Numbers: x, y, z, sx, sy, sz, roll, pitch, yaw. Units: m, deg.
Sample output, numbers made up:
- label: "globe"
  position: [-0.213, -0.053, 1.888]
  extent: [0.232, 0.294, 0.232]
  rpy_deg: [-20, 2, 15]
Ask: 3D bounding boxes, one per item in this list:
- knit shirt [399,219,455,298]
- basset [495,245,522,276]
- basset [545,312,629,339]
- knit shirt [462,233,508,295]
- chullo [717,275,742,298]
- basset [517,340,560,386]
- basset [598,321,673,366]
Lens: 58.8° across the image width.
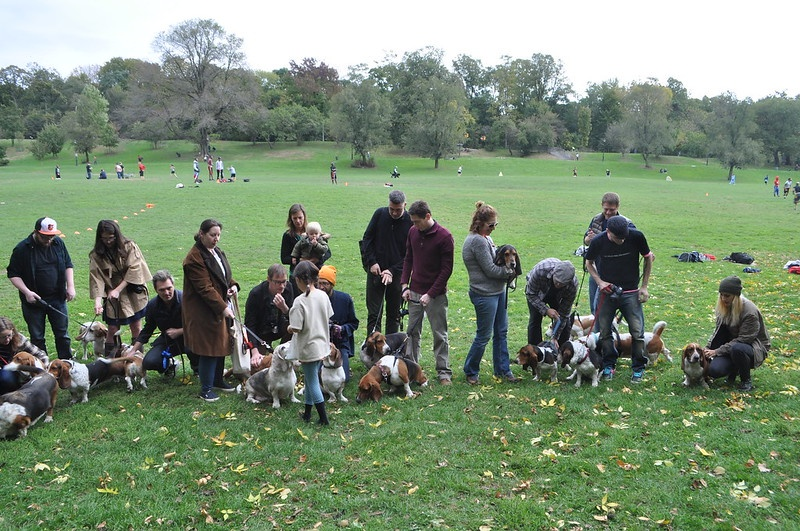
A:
- label: "knit shirt"
  position: [0.642, -0.185, 15.629]
  extent: [0.906, 1.702, 1.465]
  rpy_deg: [1, 0, 2]
- label: "basset"
  position: [2.322, -0.203, 15.331]
  extent: [0.508, 0.675, 0.477]
  rpy_deg: [-3, -37, -10]
- label: "basset"
  position: [4.362, 1.442, 16.622]
  extent: [1.986, 0.567, 1.323]
  rpy_deg: [-1, -1, -7]
- label: "knit shirt"
  position: [1.708, 0.030, 15.367]
  extent: [0.771, 1.465, 1.442]
  rpy_deg: [1, 0, -3]
- label: "chullo"
  position: [6.871, 0.427, 14.774]
  extent: [0.441, 0.401, 0.375]
  rpy_deg: [-3, 9, -6]
- label: "basset"
  position: [2.998, 2.108, 15.617]
  extent: [0.567, 0.679, 1.111]
  rpy_deg: [-13, -8, 33]
- label: "basset"
  position: [5.397, 1.822, 16.003]
  extent: [1.651, 1.043, 1.187]
  rpy_deg: [0, -1, -12]
